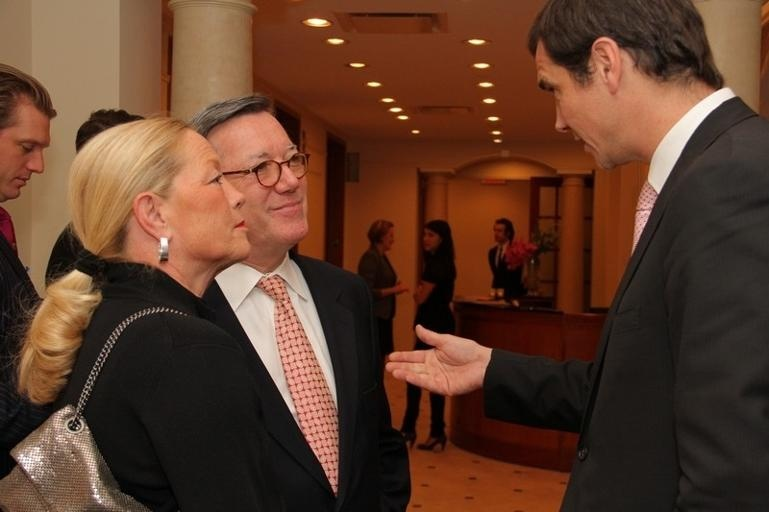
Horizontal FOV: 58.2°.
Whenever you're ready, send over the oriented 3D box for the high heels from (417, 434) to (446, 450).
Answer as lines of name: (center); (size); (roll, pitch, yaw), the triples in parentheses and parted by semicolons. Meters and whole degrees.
high heels: (0.434, 1.669, 6.205); (0.304, 0.156, 0.103); (3, -1, 3)
